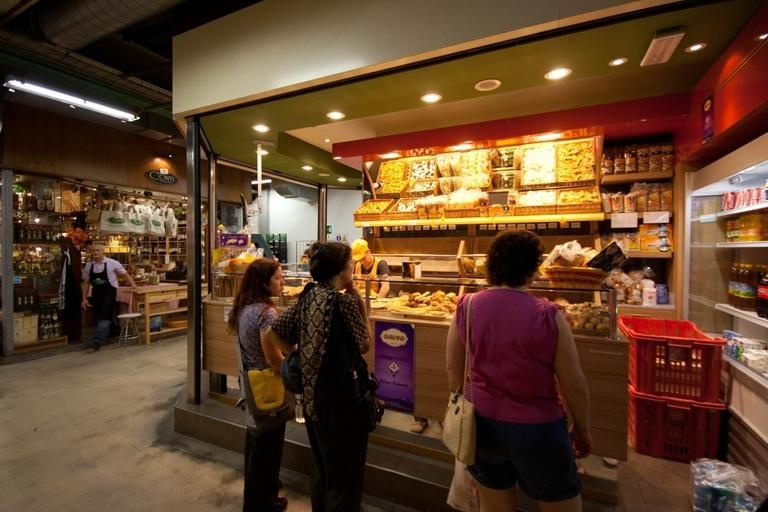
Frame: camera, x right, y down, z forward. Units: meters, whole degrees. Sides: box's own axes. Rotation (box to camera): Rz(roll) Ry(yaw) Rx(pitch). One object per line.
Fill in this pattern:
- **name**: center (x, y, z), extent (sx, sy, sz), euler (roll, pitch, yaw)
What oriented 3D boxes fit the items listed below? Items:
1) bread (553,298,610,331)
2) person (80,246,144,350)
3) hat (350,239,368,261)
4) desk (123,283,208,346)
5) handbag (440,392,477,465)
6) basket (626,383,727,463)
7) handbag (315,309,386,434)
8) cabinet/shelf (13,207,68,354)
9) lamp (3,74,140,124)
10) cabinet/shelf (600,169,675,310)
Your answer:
- **bread**: center (1.871, 0.559, 4.692), extent (0.425, 0.139, 0.405), euler (-3, 4, -29)
- **person**: center (-4.969, 0.671, 8.905), extent (0.721, 1.782, 0.891), euler (12, 20, 40)
- **hat**: center (-0.359, -0.105, 7.065), extent (0.207, 0.182, 0.310), euler (-4, 45, 22)
- **desk**: center (-4.208, 0.999, 9.713), extent (0.527, 0.796, 1.560), euler (1, 3, 30)
- **handbag**: center (0.644, 1.378, 4.167), extent (0.215, 0.605, 0.621), euler (5, -7, -11)
- **basket**: center (3.047, 1.811, 5.209), extent (0.900, 0.704, 0.901), euler (0, -3, 34)
- **handbag**: center (-0.332, 0.969, 4.200), extent (0.516, 1.022, 0.295), euler (-3, 15, -6)
- **cabinet/shelf**: center (-5.834, 0.311, 8.425), extent (0.514, 2.205, 1.387), euler (-3, 15, -6)
- **lamp**: center (-4.693, -2.394, 7.540), extent (0.228, 0.519, 1.583), euler (13, 21, 42)
- **cabinet/shelf**: center (3.308, -0.312, 6.822), extent (0.935, 1.573, 0.535), euler (-2, 15, -38)
